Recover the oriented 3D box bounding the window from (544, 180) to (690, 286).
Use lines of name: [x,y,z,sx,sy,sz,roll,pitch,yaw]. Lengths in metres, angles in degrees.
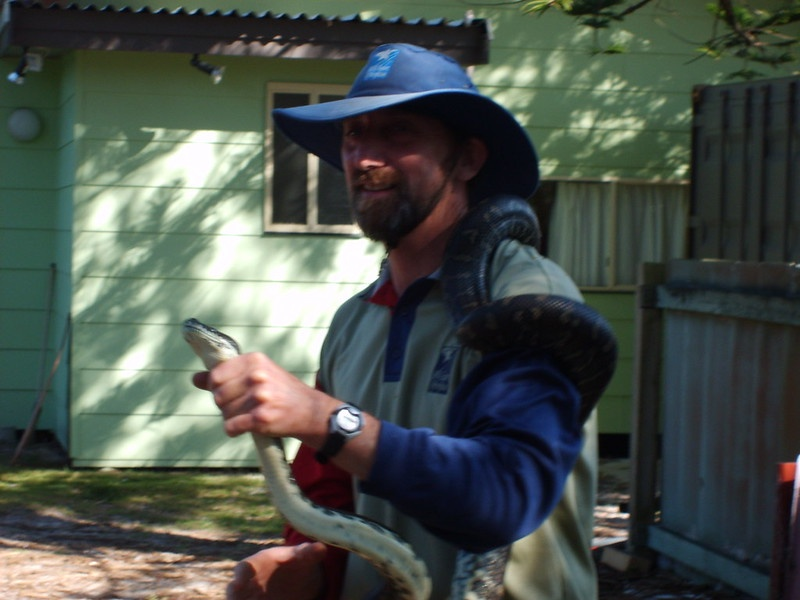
window: [3.026,-0.898,15.491,0.220,1.407,2.500,1,0,-26]
